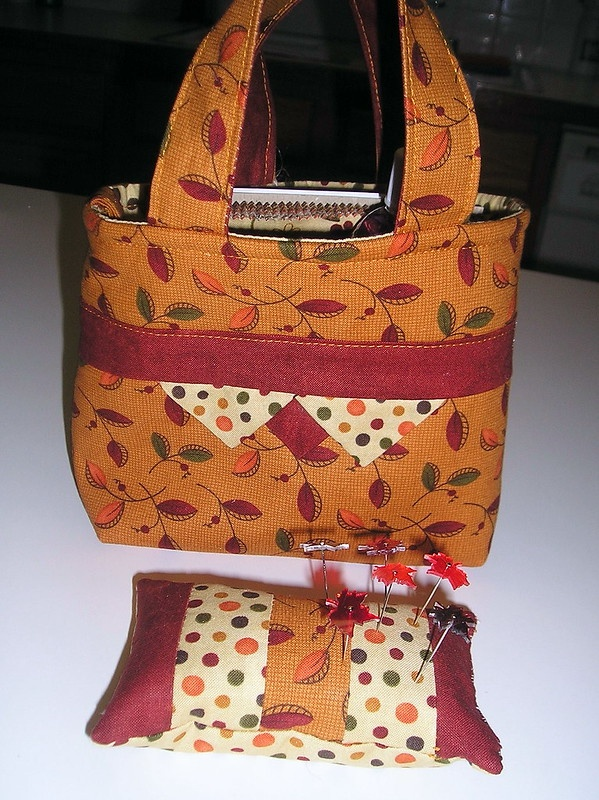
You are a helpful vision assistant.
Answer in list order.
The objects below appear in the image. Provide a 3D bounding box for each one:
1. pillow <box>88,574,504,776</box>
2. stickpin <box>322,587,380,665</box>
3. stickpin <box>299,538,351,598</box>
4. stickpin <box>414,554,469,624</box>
[{"bbox_3d":[-0.002,0.229,0.603,0.249,0.058,0.110,3,31,1],"label":"pillow"},{"bbox_3d":[0.031,0.147,0.542,0.034,0.012,0.037,0,45,3],"label":"stickpin"},{"bbox_3d":[0.017,0.127,0.646,0.049,0.054,0.042,-3,-21,5],"label":"stickpin"},{"bbox_3d":[0.103,0.139,0.616,0.032,0.043,0.028,31,4,-22],"label":"stickpin"}]
